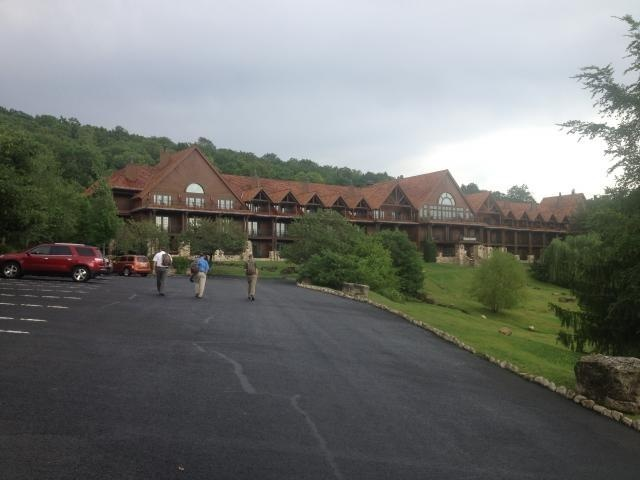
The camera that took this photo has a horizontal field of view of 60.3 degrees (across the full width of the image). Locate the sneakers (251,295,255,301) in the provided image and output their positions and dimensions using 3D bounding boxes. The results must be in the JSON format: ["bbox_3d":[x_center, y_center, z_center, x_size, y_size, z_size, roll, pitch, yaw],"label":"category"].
[{"bbox_3d":[-3.328,2.834,27.030,0.133,0.196,0.305,-2,-13,-2],"label":"sneakers"}]

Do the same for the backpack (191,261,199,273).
[{"bbox_3d":[-5.914,1.264,25.877,0.268,0.618,0.565,2,5,-5],"label":"backpack"}]

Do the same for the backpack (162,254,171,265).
[{"bbox_3d":[-7.147,0.911,25.432,0.274,0.612,0.454,1,3,21],"label":"backpack"}]
